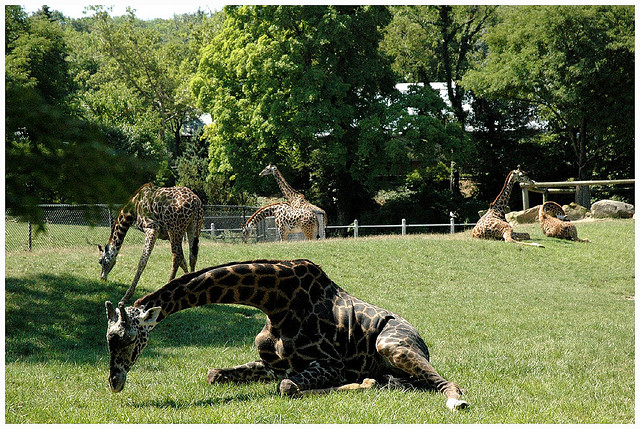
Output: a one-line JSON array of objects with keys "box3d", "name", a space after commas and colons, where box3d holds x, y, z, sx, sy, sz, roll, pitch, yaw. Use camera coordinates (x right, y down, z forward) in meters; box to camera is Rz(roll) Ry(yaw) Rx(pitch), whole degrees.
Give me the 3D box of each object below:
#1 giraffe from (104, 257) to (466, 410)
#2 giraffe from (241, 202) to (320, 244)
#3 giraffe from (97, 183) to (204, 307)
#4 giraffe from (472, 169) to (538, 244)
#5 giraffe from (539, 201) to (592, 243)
[{"box3d": [-1.097, 2.659, 16.378, 5.534, 2.749, 4.126, 3, -13, -17], "name": "giraffe"}, {"box3d": [-1.525, 0.364, 29.279, 2.770, 1.514, 0.809, 3, 14, 6], "name": "giraffe"}, {"box3d": [-5.604, 0.868, 23.273, 3.918, 3.693, 1.235, -7, -12, 20], "name": "giraffe"}, {"box3d": [7.705, -0.323, 30.222, 2.937, 4.534, 2.204, 1, 2, -10], "name": "giraffe"}, {"box3d": [9.936, 0.217, 29.322, 0.814, 1.289, 2.853, 2, 21, -22], "name": "giraffe"}]
